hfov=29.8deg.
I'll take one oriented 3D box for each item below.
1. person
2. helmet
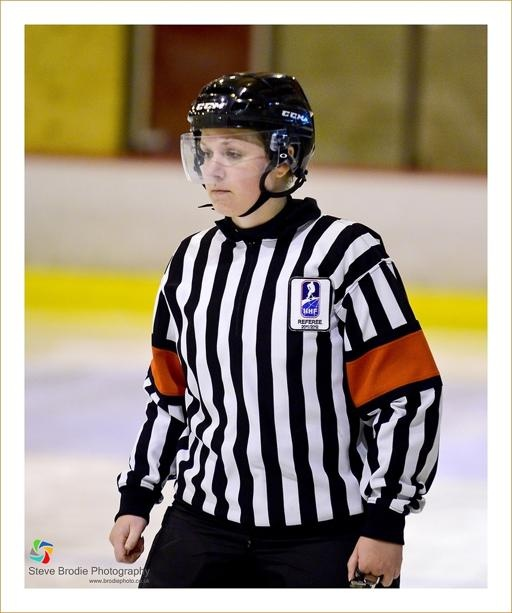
[{"bbox_3d":[0.025,0.064,2.079,0.697,1.144,0.256,0,-2,32],"label":"person"},{"bbox_3d":[-0.003,-0.390,2.151,0.245,0.240,0.297,17,11,41],"label":"helmet"}]
